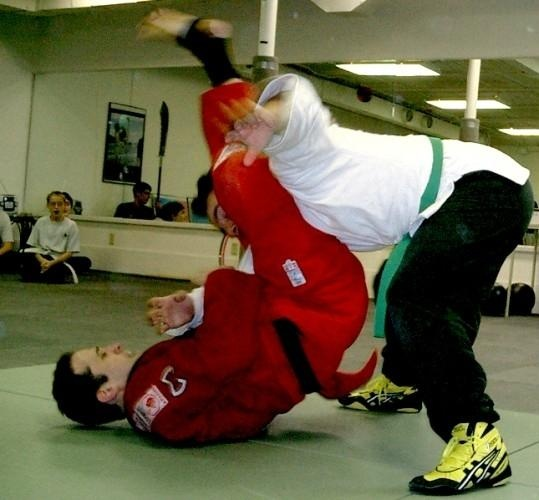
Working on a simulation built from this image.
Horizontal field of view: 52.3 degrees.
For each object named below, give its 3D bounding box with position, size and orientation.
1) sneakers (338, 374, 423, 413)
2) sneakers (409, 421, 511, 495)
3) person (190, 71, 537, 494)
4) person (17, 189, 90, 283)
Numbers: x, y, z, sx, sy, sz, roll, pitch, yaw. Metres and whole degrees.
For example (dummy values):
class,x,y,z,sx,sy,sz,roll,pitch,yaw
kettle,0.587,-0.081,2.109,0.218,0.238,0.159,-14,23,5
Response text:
class,x,y,z,sx,sy,sz,roll,pitch,yaw
sneakers,0.368,0.490,1.815,0.270,0.101,0.090,-4,-18,24
sneakers,0.413,0.419,1.169,0.288,0.153,0.098,0,-4,-31
person,0.278,0.018,1.424,0.870,0.844,0.820,2,11,27
person,-2.492,-0.128,6.239,0.981,1.004,0.692,3,17,-4
